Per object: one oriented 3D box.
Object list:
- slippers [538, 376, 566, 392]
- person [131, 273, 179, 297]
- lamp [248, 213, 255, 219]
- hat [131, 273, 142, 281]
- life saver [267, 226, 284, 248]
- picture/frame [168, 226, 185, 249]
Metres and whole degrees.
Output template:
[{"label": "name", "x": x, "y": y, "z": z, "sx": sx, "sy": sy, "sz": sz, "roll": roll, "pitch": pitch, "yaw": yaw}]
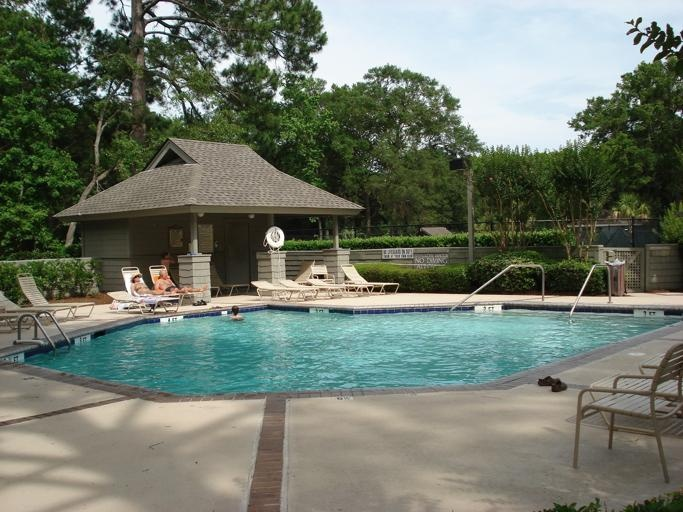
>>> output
[{"label": "slippers", "x": 2.673, "y": 1.619, "z": 6.740, "sx": 0.256, "sy": 0.115, "sz": 0.437, "roll": -1, "pitch": 1, "yaw": -7}, {"label": "person", "x": -5.621, "y": 0.847, "z": 16.065, "sx": 1.320, "sy": 0.559, "sz": 1.114, "roll": -2, "pitch": 1, "yaw": -23}, {"label": "lamp", "x": -3.930, "y": -1.769, "z": 23.488, "sx": 0.284, "sy": 0.222, "sz": 0.325, "roll": 0, "pitch": -2, "yaw": 8}, {"label": "hat", "x": -6.140, "y": 0.636, "z": 15.990, "sx": 0.269, "sy": 0.208, "sz": 0.472, "roll": -2, "pitch": 1, "yaw": -22}, {"label": "life saver", "x": -2.639, "y": -0.751, "z": 20.277, "sx": 0.829, "sy": 0.746, "sz": 0.216, "roll": 11, "pitch": 0, "yaw": -31}, {"label": "picture/frame", "x": -6.927, "y": -0.774, "z": 22.455, "sx": 0.576, "sy": 0.652, "sz": 0.143, "roll": -2, "pitch": 1, "yaw": -18}]
